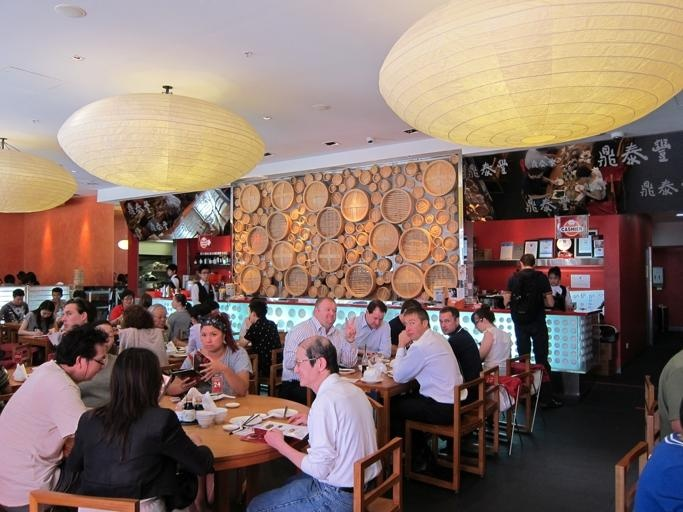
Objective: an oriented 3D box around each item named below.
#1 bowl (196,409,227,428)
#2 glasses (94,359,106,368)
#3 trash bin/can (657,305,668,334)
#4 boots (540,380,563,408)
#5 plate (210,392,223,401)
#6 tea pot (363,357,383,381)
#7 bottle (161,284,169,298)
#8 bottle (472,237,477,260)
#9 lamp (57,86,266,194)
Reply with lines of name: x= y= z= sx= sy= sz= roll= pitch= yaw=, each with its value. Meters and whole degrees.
bowl: x=-0.885 y=1.086 z=3.369 sx=0.134 sy=0.063 sz=0.135 roll=1 pitch=-2 yaw=0
glasses: x=-1.595 y=0.710 z=3.279 sx=0.076 sy=0.025 sz=0.075 roll=1 pitch=1 yaw=42
trash bin/can: x=8.525 y=1.639 z=13.140 sx=0.257 sy=0.663 sz=0.599 roll=1 pitch=1 yaw=33
boots: x=2.716 y=1.725 z=6.409 sx=0.231 sy=0.379 sz=0.682 roll=1 pitch=1 yaw=30
plate: x=-1.000 y=1.105 z=3.933 sx=0.123 sy=0.040 sz=0.140 roll=0 pitch=1 yaw=1
tea pot: x=0.272 y=1.044 z=4.512 sx=0.129 sy=0.161 sz=0.176 roll=-9 pitch=-35 yaw=23
bottle: x=-3.466 y=0.688 z=9.753 sx=0.181 sy=0.198 sz=0.186 roll=-2 pitch=-5 yaw=9
bottle: x=2.885 y=-0.168 z=10.628 sx=0.115 sy=0.470 sz=0.540 roll=1 pitch=1 yaw=15
lamp: x=-1.576 y=-0.706 z=4.625 sx=1.119 sy=0.715 sz=1.309 roll=-4 pitch=-13 yaw=18
